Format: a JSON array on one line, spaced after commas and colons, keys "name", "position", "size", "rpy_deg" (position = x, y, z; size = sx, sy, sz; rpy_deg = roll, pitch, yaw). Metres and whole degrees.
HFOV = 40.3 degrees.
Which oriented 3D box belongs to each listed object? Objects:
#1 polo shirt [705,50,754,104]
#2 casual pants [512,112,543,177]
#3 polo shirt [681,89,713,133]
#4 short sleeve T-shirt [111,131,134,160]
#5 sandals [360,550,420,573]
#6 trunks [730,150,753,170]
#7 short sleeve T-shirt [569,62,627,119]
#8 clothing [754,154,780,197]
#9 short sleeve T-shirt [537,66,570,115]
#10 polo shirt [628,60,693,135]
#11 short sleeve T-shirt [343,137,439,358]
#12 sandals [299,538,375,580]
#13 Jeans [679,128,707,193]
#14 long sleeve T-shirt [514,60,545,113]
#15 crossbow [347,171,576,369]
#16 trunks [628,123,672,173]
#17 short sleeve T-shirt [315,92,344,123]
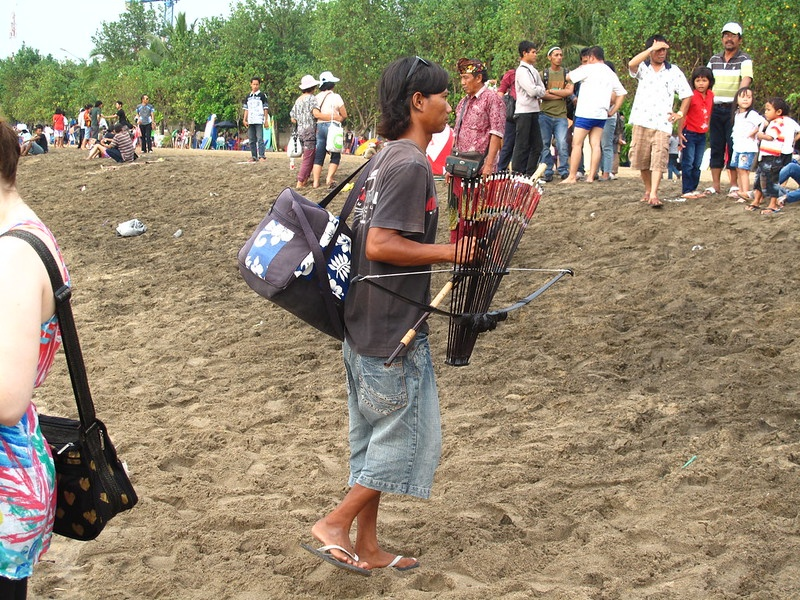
[{"name": "polo shirt", "position": [3.753, -2.529, 12.498], "size": [0.531, 0.605, 0.227], "rpy_deg": [3, 3, 31]}, {"name": "casual pants", "position": [1.598, -2.004, 13.530], "size": [0.285, 0.935, 0.233], "rpy_deg": [-4, 18, -17]}, {"name": "polo shirt", "position": [3.314, -2.129, 12.215], "size": [0.376, 0.440, 0.238], "rpy_deg": [11, 4, -25]}, {"name": "short sleeve T-shirt", "position": [-5.016, -2.785, 19.742], "size": [0.233, 0.414, 0.364], "rpy_deg": [32, 43, 33]}, {"name": "sandals", "position": [-0.044, 1.860, 7.874], "size": [0.365, 0.098, 0.142], "rpy_deg": [-2, 21, -10]}, {"name": "trunks", "position": [3.929, -1.617, 12.513], "size": [0.133, 0.226, 0.224], "rpy_deg": [12, 0, -32]}, {"name": "short sleeve T-shirt", "position": [2.331, -2.497, 12.994], "size": [0.210, 0.406, 0.408], "rpy_deg": [-16, 34, -34]}, {"name": "clothing", "position": [3.961, -1.328, 11.722], "size": [0.238, 0.428, 0.394], "rpy_deg": [3, 12, 19]}, {"name": "short sleeve T-shirt", "position": [1.977, -2.643, 13.805], "size": [0.426, 0.685, 0.386], "rpy_deg": [3, 34, 13]}, {"name": "polo shirt", "position": [2.783, -2.243, 11.906], "size": [0.764, 0.792, 0.367], "rpy_deg": [8, 4, 2]}, {"name": "short sleeve T-shirt", "position": [-0.065, -0.352, 7.506], "size": [0.647, 1.479, 0.382], "rpy_deg": [-1, 11, 1]}, {"name": "sandals", "position": [-0.405, 1.770, 7.639], "size": [0.554, 0.130, 0.214], "rpy_deg": [30, -19, -4]}, {"name": "Jeans", "position": [3.346, -1.593, 12.406], "size": [0.263, 0.776, 0.216], "rpy_deg": [-1, 5, -25]}, {"name": "long sleeve T-shirt", "position": [1.577, -2.581, 13.275], "size": [0.300, 0.558, 0.424], "rpy_deg": [8, 14, 24]}, {"name": "crossbow", "position": [0.510, -0.246, 7.552], "size": [1.614, 1.585, 0.138], "rpy_deg": [7, -30, 25]}, {"name": "trunks", "position": [2.759, -1.655, 11.892], "size": [0.272, 0.569, 0.429], "rpy_deg": [-8, 9, -38]}, {"name": "short sleeve T-shirt", "position": [-0.944, -2.557, 14.541], "size": [0.404, 0.393, 0.224], "rpy_deg": [0, -8, 5]}]
